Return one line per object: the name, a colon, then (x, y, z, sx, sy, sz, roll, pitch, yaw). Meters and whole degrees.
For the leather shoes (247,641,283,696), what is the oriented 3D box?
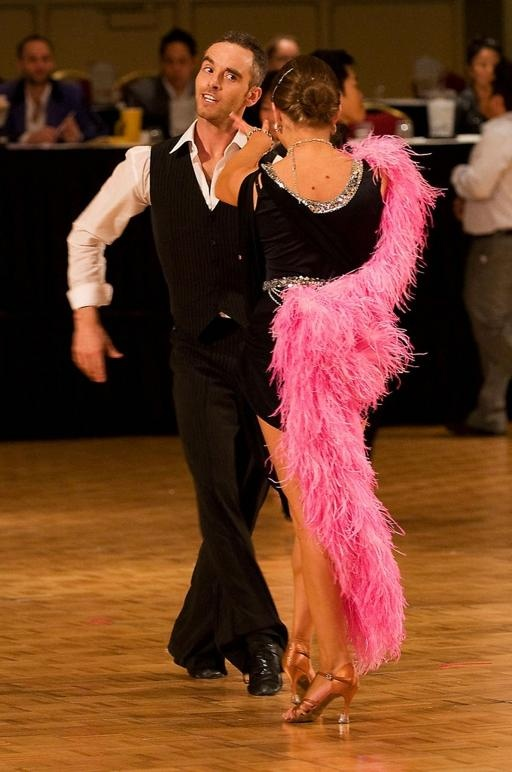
leather shoes: (0.020, 0.560, 1.558, 0.045, 0.048, 0.123, -2, 8, 2)

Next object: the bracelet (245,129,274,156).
bracelet: (0.006, -0.421, 1.369, 0.049, 0.022, 0.057, 3, -2, -8)

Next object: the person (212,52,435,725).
person: (0.111, 0.056, 1.338, 0.368, 0.662, 0.240, -1, 0, 9)

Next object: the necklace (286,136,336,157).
necklace: (0.074, -0.388, 1.303, 0.052, 0.017, 0.061, -7, 3, -26)
